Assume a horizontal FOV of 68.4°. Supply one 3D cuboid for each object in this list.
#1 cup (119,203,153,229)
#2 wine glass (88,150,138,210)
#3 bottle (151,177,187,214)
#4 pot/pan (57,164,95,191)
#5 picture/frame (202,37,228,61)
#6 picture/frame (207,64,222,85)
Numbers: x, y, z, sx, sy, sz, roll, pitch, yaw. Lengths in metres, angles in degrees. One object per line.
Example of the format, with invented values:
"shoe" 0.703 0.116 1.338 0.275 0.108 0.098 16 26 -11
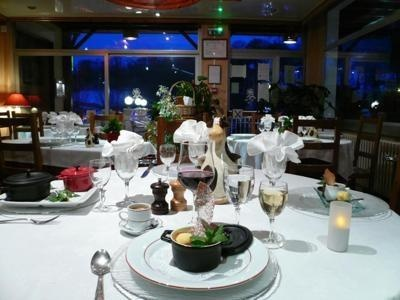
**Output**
"cup" -0.217 0.219 0.950 0.094 0.069 0.066 4 2 -3
"wine glass" -0.344 0.128 1.177 0.213 0.246 0.107 -1 0 -21
"bottle" -0.113 0.170 1.107 0.112 0.130 0.117 1 -2 -1
"pot/pan" -0.521 0.122 1.254 0.115 0.077 0.190 1 10 1
"picture/frame" 0.315 -2.277 6.559 0.500 0.393 0.070 0 2 -1
"picture/frame" 0.323 -1.687 6.582 0.274 0.408 0.078 0 11 -5
